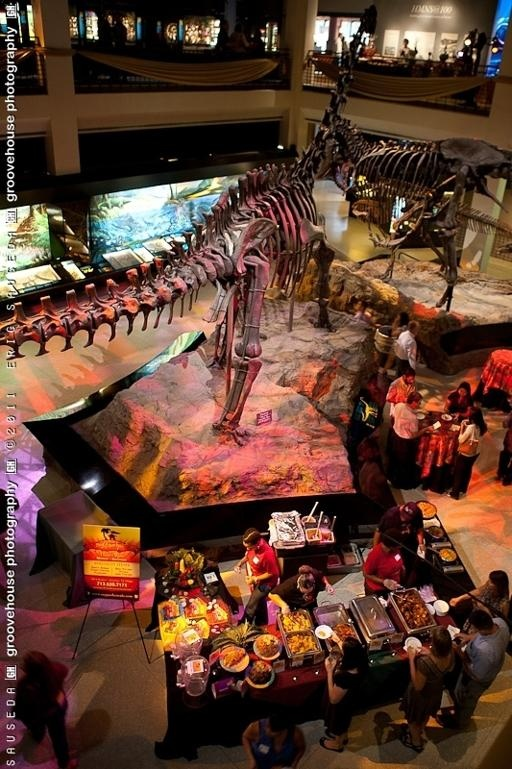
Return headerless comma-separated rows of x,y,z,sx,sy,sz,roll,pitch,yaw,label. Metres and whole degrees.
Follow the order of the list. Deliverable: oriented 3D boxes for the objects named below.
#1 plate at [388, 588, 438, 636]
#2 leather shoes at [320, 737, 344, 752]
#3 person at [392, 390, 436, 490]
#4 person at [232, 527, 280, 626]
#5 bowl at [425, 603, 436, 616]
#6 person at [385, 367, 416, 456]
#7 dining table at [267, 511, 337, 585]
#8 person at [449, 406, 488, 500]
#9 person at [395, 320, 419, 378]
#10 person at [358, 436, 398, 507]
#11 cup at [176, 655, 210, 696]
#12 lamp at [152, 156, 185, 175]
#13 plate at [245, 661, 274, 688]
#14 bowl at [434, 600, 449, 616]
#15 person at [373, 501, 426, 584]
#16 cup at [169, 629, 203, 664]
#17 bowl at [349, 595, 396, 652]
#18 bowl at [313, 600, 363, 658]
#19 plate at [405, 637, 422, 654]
1.047,1.539,3.380,0.176,0.111,0.273,-6,22,-12,plate
0.495,2.346,3.230,0.151,0.035,0.079,13,24,25,leather shoes
1.665,0.719,5.461,0.444,1.098,0.352,14,23,20,person
0.013,1.548,3.906,0.367,0.804,0.345,-20,43,-26,person
1.243,1.589,3.509,0.071,0.029,0.077,-1,20,0,bowl
1.718,0.288,5.723,0.429,0.945,0.261,-6,23,-3,person
0.306,1.296,4.225,0.627,0.706,0.542,-2,39,-3,dining table
2.285,0.780,5.417,0.236,1.155,0.391,15,23,24,person
2.025,-0.503,6.668,0.268,0.862,0.338,-19,54,-8,person
1.309,0.956,5.321,0.231,0.197,0.752,-27,21,15,person
-0.370,1.747,2.949,0.193,0.128,0.197,5,21,-2,cup
-1.728,-4.468,10.076,0.583,0.323,1.068,1,21,-10,lamp
0.029,1.678,2.848,0.157,0.153,0.036,-4,10,6,plate
1.330,1.602,3.540,0.090,0.039,0.088,2,14,-1,bowl
1.179,1.359,4.067,0.388,0.900,0.323,-1,19,7,person
-0.443,1.658,3.147,0.123,0.121,0.150,16,32,17,cup
0.780,1.583,3.301,0.231,0.123,0.376,-4,27,-14,bowl
0.531,1.598,3.219,0.229,0.081,0.411,-8,14,-11,bowl
0.999,1.660,3.147,0.086,0.083,0.031,-1,-10,-7,plate
